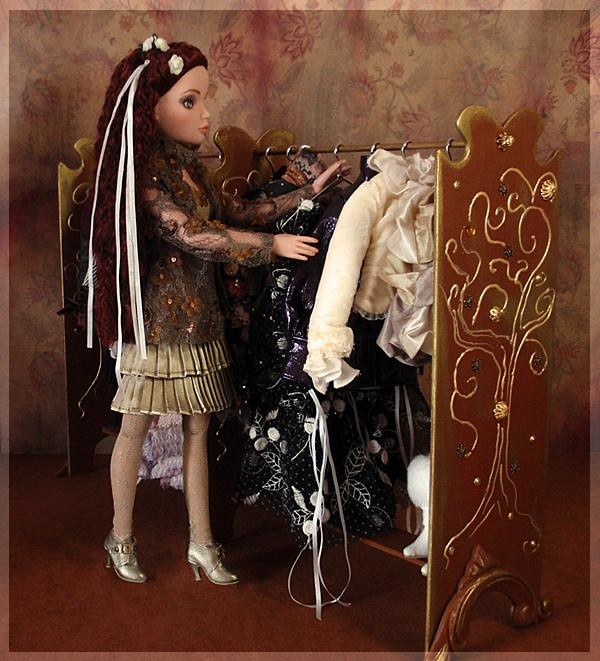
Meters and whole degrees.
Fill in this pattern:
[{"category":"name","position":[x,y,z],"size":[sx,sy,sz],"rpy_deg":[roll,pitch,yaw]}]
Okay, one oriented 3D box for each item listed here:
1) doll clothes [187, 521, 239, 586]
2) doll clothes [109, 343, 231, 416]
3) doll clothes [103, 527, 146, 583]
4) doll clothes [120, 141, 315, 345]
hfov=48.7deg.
[{"category":"doll clothes","position":[-0.235,0.621,1.824],"size":[0.164,0.135,0.074],"rpy_deg":[4,4,22]},{"category":"doll clothes","position":[-0.337,0.113,1.769],"size":[0.310,0.176,0.193],"rpy_deg":[-3,9,-19]},{"category":"doll clothes","position":[-0.493,0.611,1.859],"size":[0.070,0.091,0.204],"rpy_deg":[2,16,-44]},{"category":"doll clothes","position":[-0.098,-0.252,1.806],"size":[0.523,0.586,0.438],"rpy_deg":[1,18,5]}]
